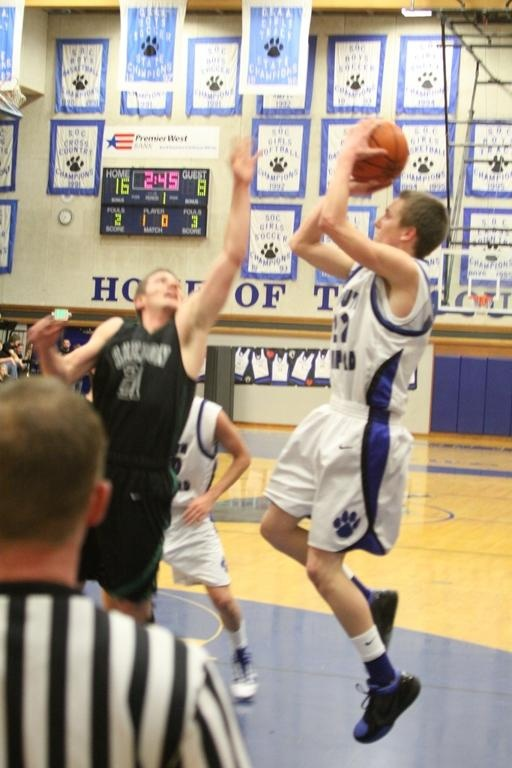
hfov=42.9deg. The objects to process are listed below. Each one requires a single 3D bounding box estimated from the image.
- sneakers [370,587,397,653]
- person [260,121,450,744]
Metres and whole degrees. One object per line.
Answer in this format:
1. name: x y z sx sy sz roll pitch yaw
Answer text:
1. sneakers: 0.492 0.857 2.483 0.081 0.283 0.103 -5 0 -15
2. person: 0.325 0.116 2.197 0.582 1.669 0.519 2 1 17
